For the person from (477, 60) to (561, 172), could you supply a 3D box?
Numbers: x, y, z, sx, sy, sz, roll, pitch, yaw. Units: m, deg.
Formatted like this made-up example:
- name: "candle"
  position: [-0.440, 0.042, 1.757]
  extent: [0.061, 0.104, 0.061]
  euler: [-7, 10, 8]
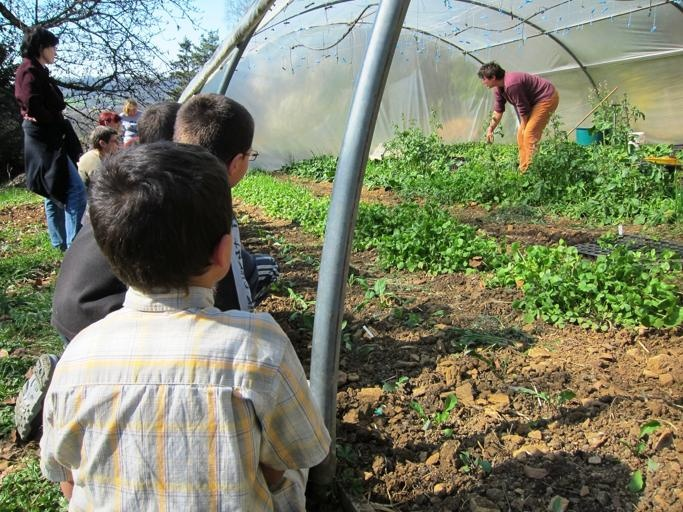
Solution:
- name: "person"
  position: [2.303, -1.862, 7.703]
  extent: [0.981, 1.417, 1.075]
  euler: [8, 11, 32]
